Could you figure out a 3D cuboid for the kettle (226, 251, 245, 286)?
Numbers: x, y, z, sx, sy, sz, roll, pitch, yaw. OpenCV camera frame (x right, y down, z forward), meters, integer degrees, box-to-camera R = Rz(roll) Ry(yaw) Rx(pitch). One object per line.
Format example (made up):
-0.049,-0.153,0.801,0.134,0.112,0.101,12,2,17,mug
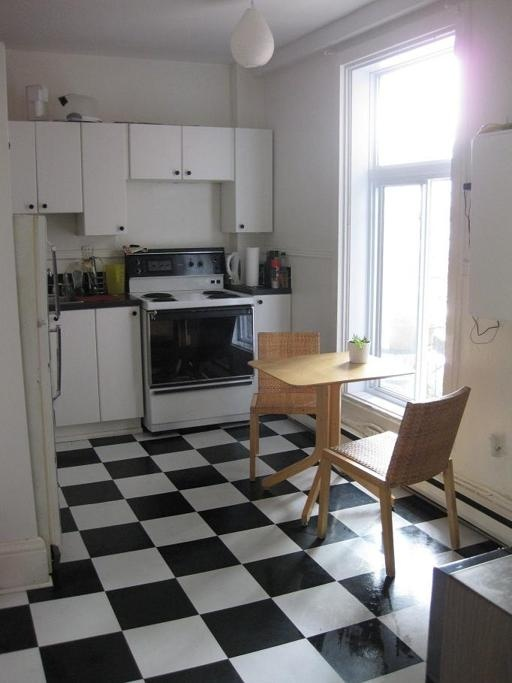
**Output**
-0.169,-0.601,4.407,0.146,0.313,0.236,7,13,29,kettle

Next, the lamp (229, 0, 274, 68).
-0.014,-1.369,2.382,0.169,0.270,0.171,-5,10,-33,lamp

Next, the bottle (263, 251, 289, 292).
0.164,-0.554,4.214,0.204,0.311,0.313,0,8,-2,bottle

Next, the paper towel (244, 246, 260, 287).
-0.028,-0.592,4.296,0.098,0.305,0.112,0,8,-1,paper towel

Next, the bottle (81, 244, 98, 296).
-1.243,-0.532,4.025,0.110,0.360,0.095,-3,8,-17,bottle

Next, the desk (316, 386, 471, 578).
0.580,0.527,2.225,0.477,0.730,0.481,-7,10,-40,desk

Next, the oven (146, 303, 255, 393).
-0.407,0.007,3.841,0.924,0.686,0.503,-4,8,-26,oven

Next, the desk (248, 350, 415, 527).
0.341,0.422,2.664,0.619,0.580,0.598,4,-4,-19,desk

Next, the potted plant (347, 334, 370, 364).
0.514,0.038,2.777,0.125,0.168,0.128,-2,8,-8,potted plant
